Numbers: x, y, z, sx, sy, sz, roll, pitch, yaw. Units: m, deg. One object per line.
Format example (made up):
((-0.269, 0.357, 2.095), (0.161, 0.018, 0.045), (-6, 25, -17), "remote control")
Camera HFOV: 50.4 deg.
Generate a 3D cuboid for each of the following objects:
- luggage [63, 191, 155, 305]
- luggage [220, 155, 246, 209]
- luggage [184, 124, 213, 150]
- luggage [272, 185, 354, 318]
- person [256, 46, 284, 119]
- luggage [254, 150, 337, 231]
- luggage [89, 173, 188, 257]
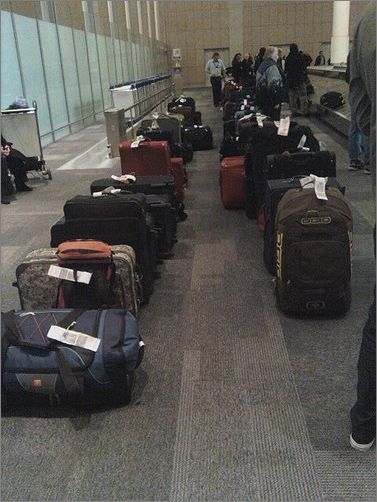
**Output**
((-0.515, 0.083, 2.542), (0.595, 0.810, 0.428), (-4, -14, -12), "luggage")
((0.558, -0.837, 4.832), (0.311, 0.595, 0.338), (-1, 20, 5), "luggage")
((0.235, -2.518, 8.539), (0.520, 0.501, 0.542), (3, 50, 4), "luggage")
((0.807, 0.020, 2.437), (0.422, 0.709, 0.387), (-1, 5, 23), "luggage")
((1.449, -2.859, 6.849), (0.470, 1.203, 0.827), (-6, 22, 2), "person")
((0.930, -0.533, 3.499), (0.660, 0.680, 0.274), (-8, 17, -11), "luggage")
((-0.367, -0.298, 3.576), (0.778, 0.845, 0.759), (-11, 30, -16), "luggage")
